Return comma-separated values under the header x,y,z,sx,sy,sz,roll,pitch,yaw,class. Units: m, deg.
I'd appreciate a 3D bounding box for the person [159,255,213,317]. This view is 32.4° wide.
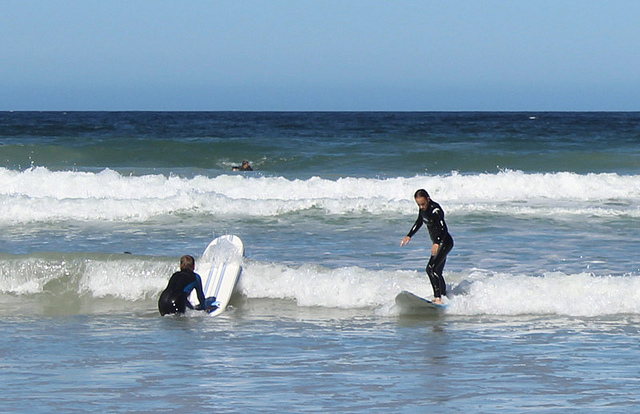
x,y,z,sx,sy,sz,roll,pitch,yaw,class
-3.305,1.877,26.282,1.074,1.376,0.473,-1,13,-7,person

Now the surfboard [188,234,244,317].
x,y,z,sx,sy,sz,roll,pitch,yaw,class
-2.666,1.888,27.384,1.239,0.523,4.017,-6,21,7,surfboard

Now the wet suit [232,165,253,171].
x,y,z,sx,sy,sz,roll,pitch,yaw,class
-3.125,-1.553,44.366,0.543,0.217,0.957,10,14,41,wet suit
